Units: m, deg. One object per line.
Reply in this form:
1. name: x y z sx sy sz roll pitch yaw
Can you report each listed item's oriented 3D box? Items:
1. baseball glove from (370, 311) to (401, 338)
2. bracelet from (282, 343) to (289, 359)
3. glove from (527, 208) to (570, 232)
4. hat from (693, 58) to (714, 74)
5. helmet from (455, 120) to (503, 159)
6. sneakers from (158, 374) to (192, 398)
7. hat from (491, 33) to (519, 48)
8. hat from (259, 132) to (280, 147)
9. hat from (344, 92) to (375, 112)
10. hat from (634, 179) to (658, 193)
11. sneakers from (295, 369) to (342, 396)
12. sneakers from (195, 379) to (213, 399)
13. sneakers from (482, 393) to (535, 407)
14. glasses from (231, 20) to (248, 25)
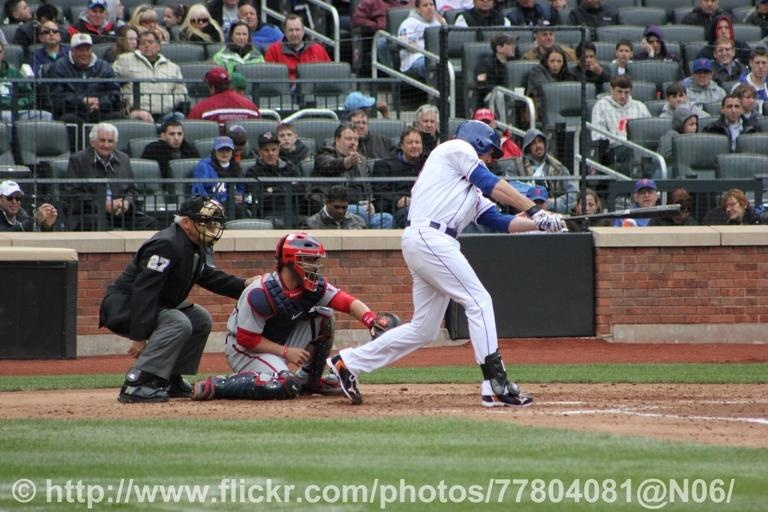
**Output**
1. baseball glove: -0.007 0.855 24.372 0.355 0.187 0.259 -24 0 10
2. bracelet: -1.203 1.190 24.369 0.098 0.115 0.124 4 -2 -5
3. glove: 1.946 -0.409 24.092 0.437 0.298 0.266 -1 3 4
4. hat: 4.752 -2.803 30.175 0.253 0.175 0.349 2 7 8
5. helmet: 1.141 -1.356 24.441 0.527 0.338 0.372 30 2 -10
6. sneakers: -2.520 1.645 24.650 0.448 0.282 0.170 -3 9 -14
7. hat: 1.645 -2.925 27.761 0.287 0.140 0.178 -16 5 -2
8. hat: -1.657 -1.610 28.343 0.232 0.210 0.343 -5 6 -11
9. hat: -0.363 -2.229 29.335 0.406 0.200 0.276 -4 19 -7
10. hat: 3.654 -0.936 28.136 0.266 0.170 0.396 0 5 13
11. sneakers: -0.773 1.628 24.726 0.648 0.259 0.222 1 -2 0
12. sneakers: -2.192 1.651 24.338 0.243 0.234 0.176 -5 -12 -15
13. sneakers: 1.473 1.726 23.959 0.582 0.212 0.203 0 1 -3
14. glasses: -2.225 -3.593 31.139 0.208 0.050 0.195 -1 -2 30
